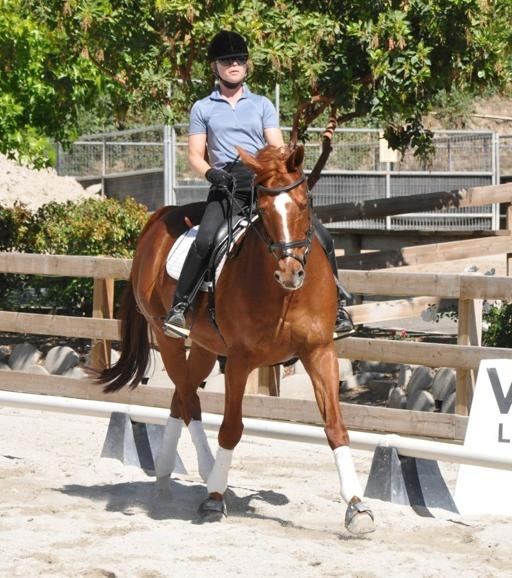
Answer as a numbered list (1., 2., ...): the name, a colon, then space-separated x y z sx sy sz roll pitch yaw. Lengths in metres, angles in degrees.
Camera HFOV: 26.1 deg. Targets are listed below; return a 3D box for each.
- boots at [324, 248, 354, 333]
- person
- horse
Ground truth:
1. boots: 0.567 0.054 7.036 0.159 0.567 0.281 -8 15 12
2. person: -0.076 -0.645 6.731 1.033 1.807 0.807 0 12 0
3. horse: -0.110 0.244 6.755 0.685 2.259 2.119 -4 9 -27
